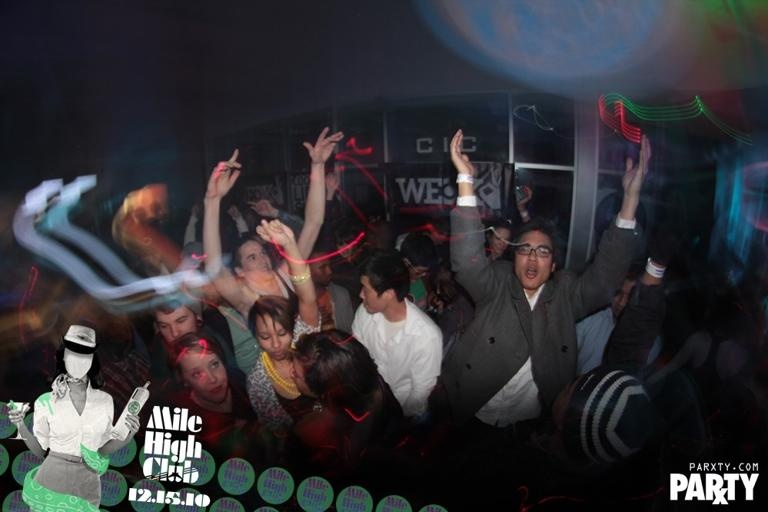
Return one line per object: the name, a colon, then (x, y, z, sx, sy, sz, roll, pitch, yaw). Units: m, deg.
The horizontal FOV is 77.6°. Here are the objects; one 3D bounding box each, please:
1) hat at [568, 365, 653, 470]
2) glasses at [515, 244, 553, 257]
hat: (1.455, 1.085, 3.384, 0.681, 0.502, 0.245, -46, 1, 16)
glasses: (0.950, -0.033, 3.054, 0.227, 0.084, 0.032, -2, 13, 11)
